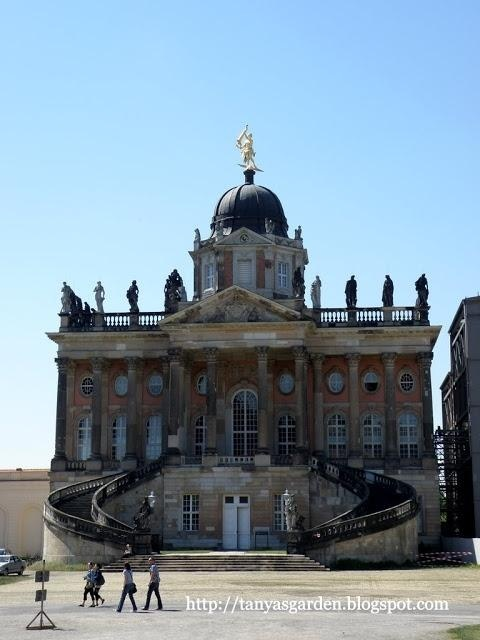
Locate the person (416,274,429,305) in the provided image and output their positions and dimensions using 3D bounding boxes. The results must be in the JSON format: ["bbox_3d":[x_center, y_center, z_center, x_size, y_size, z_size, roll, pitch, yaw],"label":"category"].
[{"bbox_3d":[9.893,-1.580,60.909,0.562,1.757,0.744,-2,-12,6],"label":"person"}]

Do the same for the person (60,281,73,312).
[{"bbox_3d":[-9.848,-1.216,63.793,0.546,1.753,0.862,3,-12,-14],"label":"person"}]

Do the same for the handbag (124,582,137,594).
[{"bbox_3d":[-2.770,6.793,28.188,0.282,0.277,0.475,2,-14,-10],"label":"handbag"}]

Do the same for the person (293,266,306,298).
[{"bbox_3d":[3.150,-1.857,60.096,0.490,1.772,1.100,0,-12,-2],"label":"person"}]

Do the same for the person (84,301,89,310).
[{"bbox_3d":[-8.731,-0.730,63.921,0.254,0.562,0.940,1,-14,-6],"label":"person"}]
